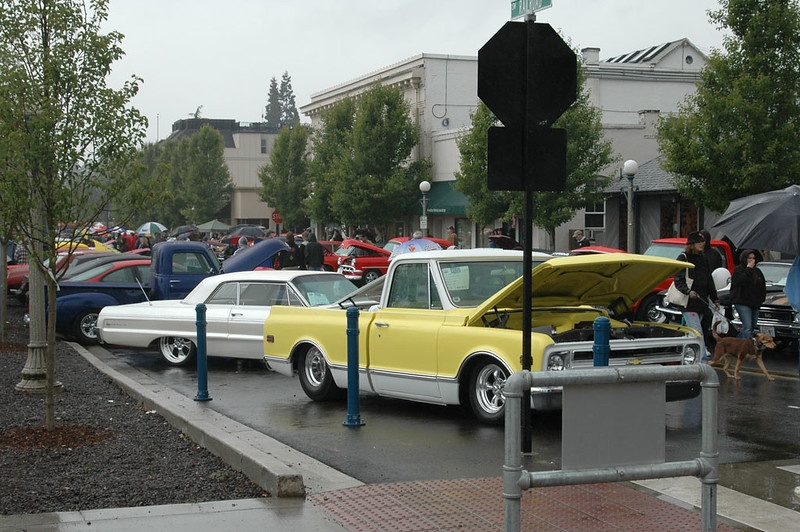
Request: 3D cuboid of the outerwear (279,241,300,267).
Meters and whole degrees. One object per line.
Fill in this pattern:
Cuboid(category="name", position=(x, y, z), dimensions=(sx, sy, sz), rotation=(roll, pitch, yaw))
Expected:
Cuboid(category="outerwear", position=(-3.148, -0.347, 24.104), dimensions=(0.719, 0.823, 0.445), rotation=(1, 7, 2))

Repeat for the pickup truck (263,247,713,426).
Cuboid(category="pickup truck", position=(1.051, 0.885, 11.790), dimensions=(5.801, 2.276, 2.268), rotation=(0, 2, 31))

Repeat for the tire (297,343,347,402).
Cuboid(category="tire", position=(-1.152, 1.521, 12.749), dimensions=(0.309, 0.895, 0.860), rotation=(3, 11, -37))

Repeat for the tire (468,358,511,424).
Cuboid(category="tire", position=(1.137, 1.605, 10.953), dimensions=(0.296, 0.877, 0.826), rotation=(-3, 2, -26))

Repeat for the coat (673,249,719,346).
Cuboid(category="coat", position=(5.293, 0.609, 15.124), dimensions=(0.759, 2.343, 0.565), rotation=(-11, 13, -21))

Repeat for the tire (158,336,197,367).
Cuboid(category="tire", position=(-4.180, 1.589, 16.043), dimensions=(0.702, 0.745, 0.255), rotation=(2, 1, 14))

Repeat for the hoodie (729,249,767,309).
Cuboid(category="hoodie", position=(6.671, 0.226, 16.255), dimensions=(0.675, 1.133, 0.541), rotation=(-2, 0, -23))

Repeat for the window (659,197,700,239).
Cuboid(category="window", position=(11.547, -1.932, 35.136), dimensions=(2.139, 1.677, 0.092), rotation=(0, 0, -29))

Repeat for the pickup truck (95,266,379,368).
Cuboid(category="pickup truck", position=(-3.440, 0.862, 16.028), dimensions=(4.336, 1.356, 1.997), rotation=(-1, 3, 15))

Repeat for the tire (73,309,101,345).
Cuboid(category="tire", position=(-6.767, 1.309, 18.734), dimensions=(0.252, 0.729, 0.706), rotation=(-2, -8, -40))
